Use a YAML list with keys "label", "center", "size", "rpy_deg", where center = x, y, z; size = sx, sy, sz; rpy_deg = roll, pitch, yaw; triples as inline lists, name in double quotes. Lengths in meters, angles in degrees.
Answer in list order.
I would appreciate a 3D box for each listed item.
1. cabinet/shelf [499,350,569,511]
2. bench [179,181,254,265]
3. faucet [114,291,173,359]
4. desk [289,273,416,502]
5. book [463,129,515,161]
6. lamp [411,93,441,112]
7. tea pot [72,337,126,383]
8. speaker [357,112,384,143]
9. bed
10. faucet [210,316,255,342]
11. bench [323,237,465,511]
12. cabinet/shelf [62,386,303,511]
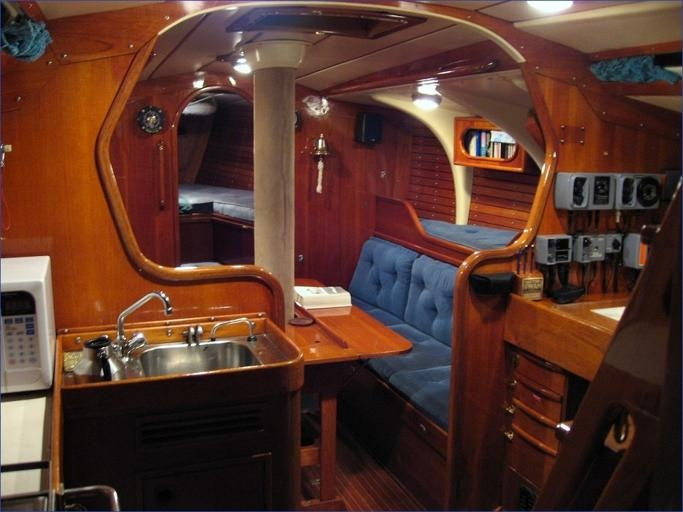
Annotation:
- label: "cabinet/shelf"
  center: [1.043, 1.023, 2.869]
  size: [0.143, 0.968, 0.438]
  rpy_deg: [-7, 7, -17]
- label: "bench"
  center: [-1.651, -0.398, 6.958]
  size: [1.064, 0.524, 1.503]
  rpy_deg: [-8, 18, -37]
- label: "faucet"
  center: [-0.933, 0.306, 2.403]
  size: [0.250, 0.280, 0.346]
  rpy_deg: [-7, 7, -24]
- label: "desk"
  center: [0.077, 0.919, 3.433]
  size: [0.416, 0.523, 1.361]
  rpy_deg: [-3, 12, -19]
- label: "book"
  center: [1.444, -1.095, 5.051]
  size: [0.177, 0.361, 0.672]
  rpy_deg: [-8, 7, -26]
- label: "lamp"
  center: [0.738, -1.370, 4.511]
  size: [0.193, 0.131, 0.206]
  rpy_deg: [-10, 8, -39]
- label: "tea pot"
  center: [-1.039, 0.427, 2.248]
  size: [0.181, 0.107, 0.187]
  rpy_deg: [2, 5, 0]
- label: "speaker"
  center: [0.294, -1.409, 5.649]
  size: [0.320, 0.343, 0.182]
  rpy_deg: [-5, 12, -32]
- label: "bed"
  center: [0.656, -0.215, 4.694]
  size: [0.814, 0.355, 0.800]
  rpy_deg: [9, 9, -26]
- label: "faucet"
  center: [-0.552, 0.372, 2.633]
  size: [0.229, 0.124, 0.182]
  rpy_deg: [-6, 7, -12]
- label: "bench"
  center: [0.380, 0.846, 3.557]
  size: [0.581, 0.838, 1.629]
  rpy_deg: [0, 12, -27]
- label: "cabinet/shelf"
  center: [-0.698, 0.792, 2.152]
  size: [0.617, 0.419, 0.330]
  rpy_deg: [-2, 5, -21]
